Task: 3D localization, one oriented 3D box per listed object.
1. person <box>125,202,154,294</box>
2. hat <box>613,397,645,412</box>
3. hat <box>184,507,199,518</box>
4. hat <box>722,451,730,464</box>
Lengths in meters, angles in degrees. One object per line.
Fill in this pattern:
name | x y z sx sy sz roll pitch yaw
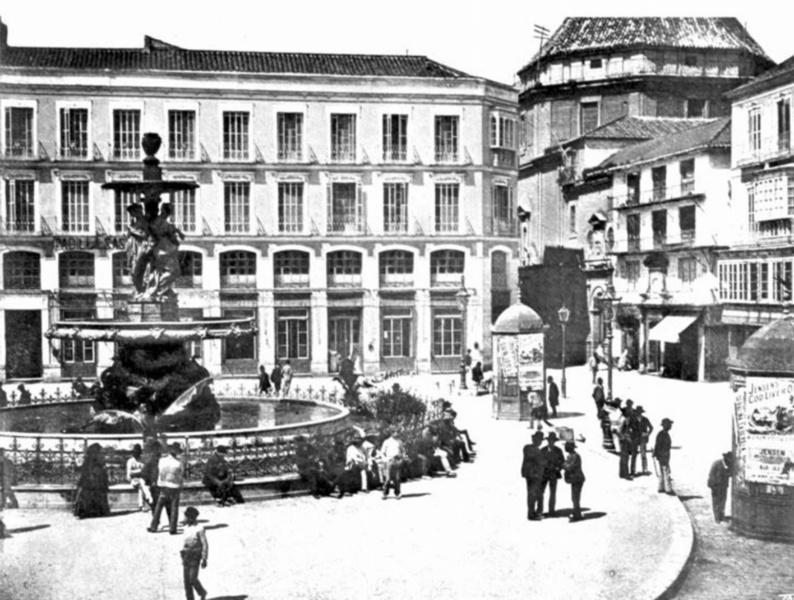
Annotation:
person | -8.908 -1.789 50.007 0.928 3.167 0.475 -2 -2 7
hat | 7.980 3.667 49.354 0.694 0.357 0.815 -1 -4 41
hat | -5.763 5.935 40.320 0.307 0.346 0.325 -1 -9 31
hat | 10.158 4.864 44.572 0.251 0.271 0.264 -1 3 -23
